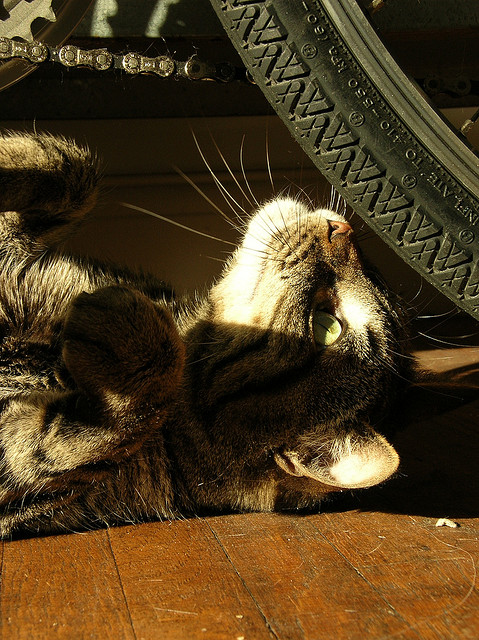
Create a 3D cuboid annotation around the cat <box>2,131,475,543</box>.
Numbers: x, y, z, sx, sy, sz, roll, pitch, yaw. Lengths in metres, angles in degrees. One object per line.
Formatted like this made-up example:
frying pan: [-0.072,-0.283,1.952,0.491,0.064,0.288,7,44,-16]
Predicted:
cat: [-0.015,0.087,1.193,1.054,0.335,0.442,15,-15,-37]
